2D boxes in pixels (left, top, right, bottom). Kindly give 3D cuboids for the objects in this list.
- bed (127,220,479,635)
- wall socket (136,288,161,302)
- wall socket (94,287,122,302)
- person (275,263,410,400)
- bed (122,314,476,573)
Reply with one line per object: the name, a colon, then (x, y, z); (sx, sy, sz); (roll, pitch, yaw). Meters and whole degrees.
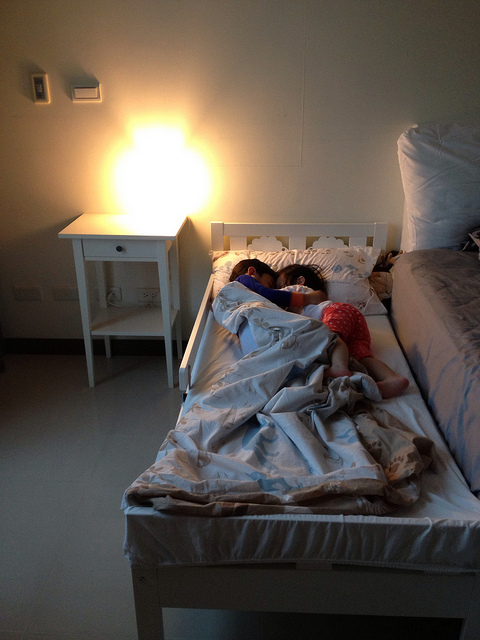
bed: (0.203, 0.179, 1.542); (0.600, 0.546, 1.345); (1, 44, 5)
wall socket: (-0.485, -0.130, 2.559); (0.126, 0.076, 0.007); (1, 18, 5)
wall socket: (-0.695, -0.132, 2.519); (0.123, 0.072, 0.082); (1, 2, -1)
person: (0.296, 0.031, 1.797); (0.312, 0.290, 0.758); (19, 25, -18)
bed: (0.169, 0.370, 1.377); (0.911, 0.445, 0.767); (1, 27, 12)
